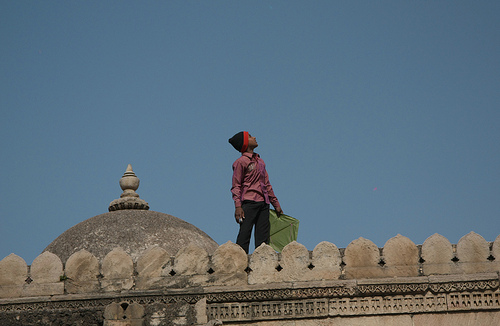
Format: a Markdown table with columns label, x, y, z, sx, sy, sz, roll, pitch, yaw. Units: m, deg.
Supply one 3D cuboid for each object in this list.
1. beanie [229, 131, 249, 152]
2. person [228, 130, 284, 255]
| label | x | y | z | sx | sy | sz | roll | pitch | yaw |
| --- | --- | --- | --- | --- | --- | --- | --- | --- | --- |
| beanie | -0.246 | -0.434 | 30.722 | 0.400 | 0.422 | 0.270 | 2 | -41 | -2 |
| person | 0.047 | 0.641 | 30.373 | 0.679 | 2.481 | 1.186 | -15 | -43 | 17 |
